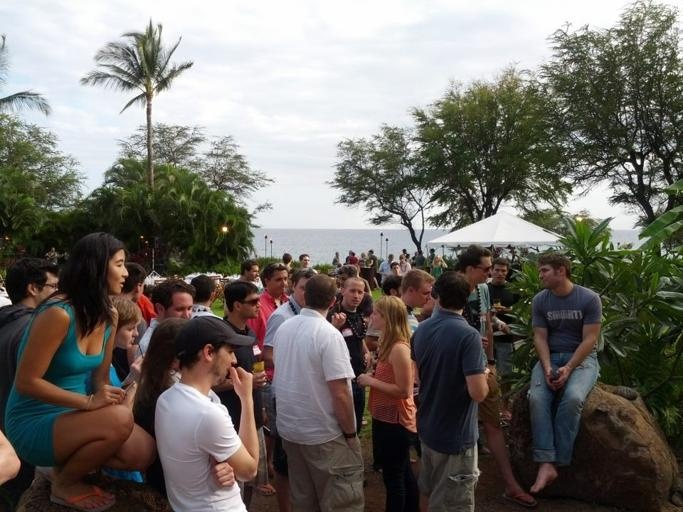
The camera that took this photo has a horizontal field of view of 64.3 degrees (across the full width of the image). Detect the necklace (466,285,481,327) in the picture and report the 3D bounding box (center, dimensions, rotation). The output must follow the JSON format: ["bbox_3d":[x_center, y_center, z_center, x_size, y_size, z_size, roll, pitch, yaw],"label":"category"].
[{"bbox_3d":[1.596,0.628,6.633,0.117,0.474,0.336,8,-14,-17],"label":"necklace"}]

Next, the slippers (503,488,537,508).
[{"bbox_3d":[1.910,2.598,5.861,0.123,0.077,0.264,-10,4,-39],"label":"slippers"}]

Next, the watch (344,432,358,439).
[{"bbox_3d":[0.064,1.599,4.849,0.076,0.032,0.084,2,-6,5],"label":"watch"}]

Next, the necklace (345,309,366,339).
[{"bbox_3d":[0.166,0.821,6.415,0.211,0.318,0.108,-2,-8,-18],"label":"necklace"}]

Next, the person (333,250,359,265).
[{"bbox_3d":[0.212,0.220,28.402,1.119,0.791,0.886,-2,1,17],"label":"person"}]

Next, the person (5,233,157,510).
[{"bbox_3d":[-1.810,0.792,3.761,0.941,1.908,0.442,0,-1,-16],"label":"person"}]

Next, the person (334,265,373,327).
[{"bbox_3d":[0.238,0.429,7.383,0.540,0.960,0.672,0,-8,-9],"label":"person"}]

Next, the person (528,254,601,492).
[{"bbox_3d":[2.373,1.290,5.818,0.713,2.627,0.640,-1,-1,24],"label":"person"}]

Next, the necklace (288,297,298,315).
[{"bbox_3d":[-0.546,0.583,6.134,0.043,0.170,0.134,-32,16,-5],"label":"necklace"}]
